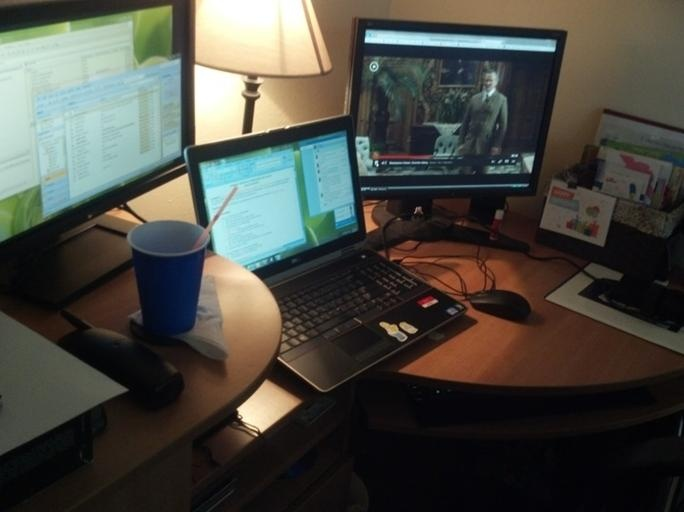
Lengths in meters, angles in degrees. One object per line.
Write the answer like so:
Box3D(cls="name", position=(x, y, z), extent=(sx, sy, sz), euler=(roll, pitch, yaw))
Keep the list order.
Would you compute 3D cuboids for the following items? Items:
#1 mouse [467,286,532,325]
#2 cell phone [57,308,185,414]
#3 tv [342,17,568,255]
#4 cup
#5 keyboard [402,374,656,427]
Box3D(cls="mouse", position=(0.362, 0.111, 1.240), extent=(0.134, 0.044, 0.066), euler=(18, 39, 22))
Box3D(cls="cell phone", position=(-0.338, 0.135, 0.765), extent=(0.235, 0.049, 0.074), euler=(23, 23, 19))
Box3D(cls="tv", position=(0.293, -0.339, 1.479), extent=(0.569, 0.549, 0.271), euler=(-4, 26, -15))
Box3D(cls="cup", position=(-0.256, 0.036, 0.793), extent=(0.110, 0.130, 0.109), euler=(5, 34, -3))
Box3D(cls="keyboard", position=(0.397, 0.350, 1.208), extent=(0.413, 0.029, 0.170), euler=(2, 32, -3))
